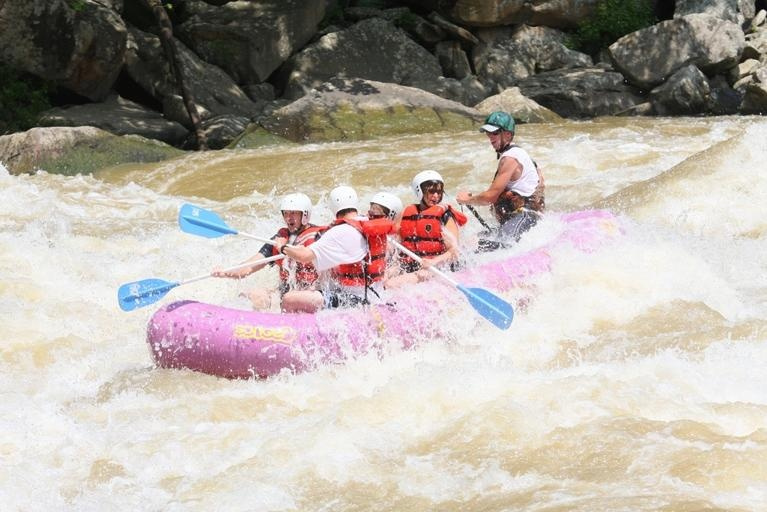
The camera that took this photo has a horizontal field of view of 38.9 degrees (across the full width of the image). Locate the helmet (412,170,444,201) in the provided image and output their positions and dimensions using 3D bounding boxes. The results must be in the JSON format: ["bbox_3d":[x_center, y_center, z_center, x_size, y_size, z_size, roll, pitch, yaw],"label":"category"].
[{"bbox_3d":[0.579,-0.986,14.247,0.344,0.325,0.409,0,24,-11],"label":"helmet"}]

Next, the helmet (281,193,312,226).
[{"bbox_3d":[-1.098,-0.627,13.849,0.359,0.448,0.351,-5,90,33],"label":"helmet"}]

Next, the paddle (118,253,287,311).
[{"bbox_3d":[-2.387,0.347,14.216,2.434,0.159,0.391,-14,93,-3],"label":"paddle"}]

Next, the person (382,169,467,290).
[{"bbox_3d":[0.468,-0.402,14.075,1.104,1.171,1.378,1,92,23],"label":"person"}]

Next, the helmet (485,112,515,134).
[{"bbox_3d":[1.612,-1.814,14.644,0.282,0.402,0.191,7,90,55],"label":"helmet"}]

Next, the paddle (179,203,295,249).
[{"bbox_3d":[-1.913,-0.287,14.475,0.545,2.146,0.142,-40,65,15],"label":"paddle"}]

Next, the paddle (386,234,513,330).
[{"bbox_3d":[0.784,0.345,13.573,1.867,0.157,0.267,36,92,21],"label":"paddle"}]

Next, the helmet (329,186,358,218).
[{"bbox_3d":[-0.493,-0.717,13.533,0.317,0.363,0.330,-6,106,-10],"label":"helmet"}]
